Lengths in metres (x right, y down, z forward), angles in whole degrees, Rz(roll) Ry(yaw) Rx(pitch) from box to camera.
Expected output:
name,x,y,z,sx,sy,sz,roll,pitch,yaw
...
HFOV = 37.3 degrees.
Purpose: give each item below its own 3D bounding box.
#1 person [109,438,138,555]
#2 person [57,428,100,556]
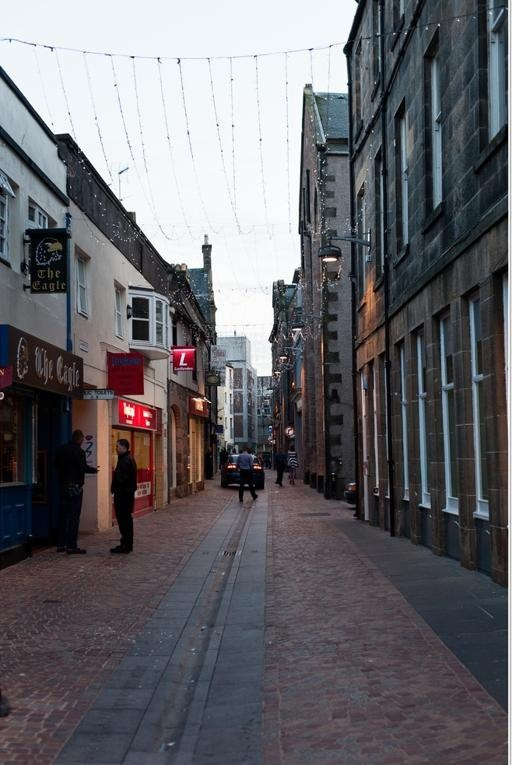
name,x,y,z,sx,sy,sz,roll,pitch,yaw
person,-2.142,1.811,12.318,0.383,1.794,1.227,0,-3,-11
person,-2.921,1.753,12.289,0.624,1.943,0.606,-2,-3,32
